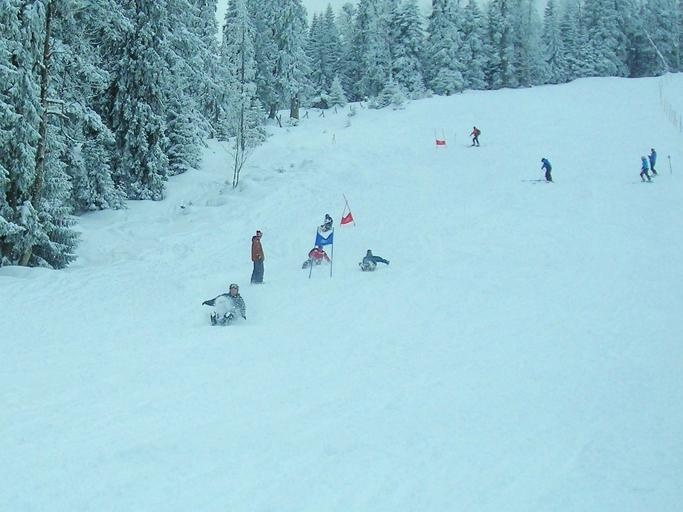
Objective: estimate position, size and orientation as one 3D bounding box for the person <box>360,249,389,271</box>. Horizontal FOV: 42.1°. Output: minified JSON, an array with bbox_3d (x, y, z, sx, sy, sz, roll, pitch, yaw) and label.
[{"bbox_3d":[1.480,0.168,41.242,1.291,0.942,0.963,-6,12,-3],"label":"person"}]

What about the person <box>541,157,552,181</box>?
[{"bbox_3d":[11.976,-5.092,51.365,0.554,1.438,2.600,-1,13,13],"label":"person"}]

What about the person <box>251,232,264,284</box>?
[{"bbox_3d":[-3.940,0.000,40.872,0.610,2.470,0.803,-5,10,-7],"label":"person"}]

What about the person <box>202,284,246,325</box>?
[{"bbox_3d":[-4.915,1.994,37.898,1.640,1.546,1.063,-7,11,-9],"label":"person"}]
